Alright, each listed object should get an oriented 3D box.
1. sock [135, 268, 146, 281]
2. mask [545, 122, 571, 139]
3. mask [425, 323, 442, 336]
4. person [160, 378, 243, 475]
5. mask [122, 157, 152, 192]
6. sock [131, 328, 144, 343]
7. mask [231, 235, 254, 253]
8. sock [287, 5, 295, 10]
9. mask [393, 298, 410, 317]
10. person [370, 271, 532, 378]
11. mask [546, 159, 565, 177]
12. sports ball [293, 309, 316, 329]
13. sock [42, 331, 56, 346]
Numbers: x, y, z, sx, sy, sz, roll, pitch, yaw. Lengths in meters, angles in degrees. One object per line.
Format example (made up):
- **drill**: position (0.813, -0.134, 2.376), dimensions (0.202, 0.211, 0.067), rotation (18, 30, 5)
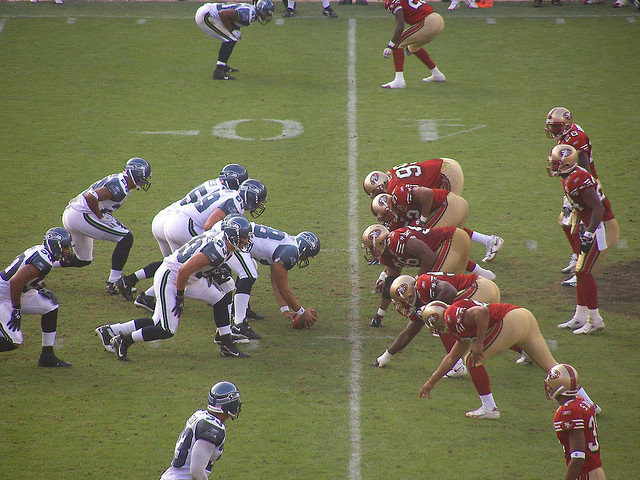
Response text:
- **sock**: position (-2.373, 0.454, 14.791), dimensions (0.126, 0.139, 0.125), rotation (-23, 62, -28)
- **mask**: position (3.221, -1.526, 15.098), dimensions (0.281, 0.182, 0.185), rotation (-12, 21, 12)
- **mask**: position (1.321, 1.034, 12.874), dimensions (0.169, 0.092, 0.125), rotation (28, 2, 19)
- **person**: position (-1.300, 2.063, 12.213), dimensions (0.772, 1.193, 1.212), rotation (7, 31, -1)
- **mask**: position (-2.394, -0.849, 14.875), dimensions (0.385, 0.304, 0.322), rotation (15, -5, 27)
- **sock**: position (-2.240, 1.167, 13.662), dimensions (0.266, 0.177, 0.097), rotation (-2, -2, 21)
- **mask**: position (-0.932, 0.040, 13.503), dimensions (0.273, 0.281, 0.113), rotation (-13, 39, -29)
- **sock**: position (-0.629, -5.051, 23.953), dimensions (0.150, 0.066, 0.103), rotation (4, -3, -21)
- **mask**: position (1.016, 0.794, 13.224), dimensions (0.144, 0.210, 0.197), rotation (-9, -1, -42)
- **person**: position (1.719, 1.136, 13.543), dimensions (2.599, 1.313, 0.901), rotation (5, 34, -7)
- **mask**: position (3.070, -0.946, 14.307), dimensions (0.281, 0.205, 0.204), rotation (5, 21, 12)
- **sports ball**: position (-0.200, 1.015, 14.222), dimensions (0.323, 0.265, 0.175), rotation (0, 14, -9)
- **sock**: position (-3.324, 1.209, 13.624), dimensions (0.139, 0.166, 0.109), rotation (-1, 34, -13)
